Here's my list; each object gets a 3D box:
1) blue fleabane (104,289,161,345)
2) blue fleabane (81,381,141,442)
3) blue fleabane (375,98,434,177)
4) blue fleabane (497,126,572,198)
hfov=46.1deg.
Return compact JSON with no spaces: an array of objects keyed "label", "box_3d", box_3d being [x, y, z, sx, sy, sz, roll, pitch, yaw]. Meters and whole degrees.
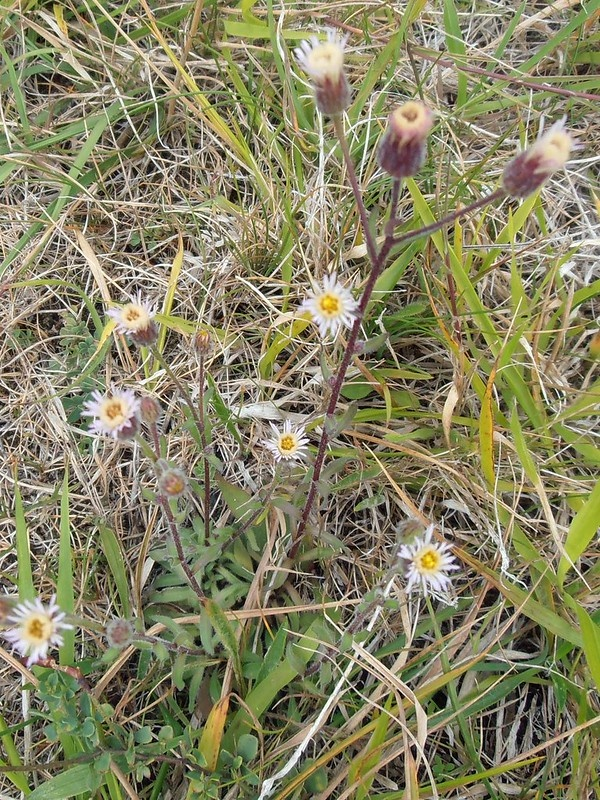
[{"label":"blue fleabane","box_3d":[-0.368,-0.178,1.655,0.078,0.119,0.097,-48,52,7]},{"label":"blue fleabane","box_3d":[-0.428,0.038,1.632,0.158,0.073,0.154,4,70,-3]},{"label":"blue fleabane","box_3d":[0.197,-0.490,1.332,0.081,0.084,0.123,8,74,3]},{"label":"blue fleabane","box_3d":[0.475,-0.482,1.383,0.101,0.170,0.062,22,95,-3]}]
